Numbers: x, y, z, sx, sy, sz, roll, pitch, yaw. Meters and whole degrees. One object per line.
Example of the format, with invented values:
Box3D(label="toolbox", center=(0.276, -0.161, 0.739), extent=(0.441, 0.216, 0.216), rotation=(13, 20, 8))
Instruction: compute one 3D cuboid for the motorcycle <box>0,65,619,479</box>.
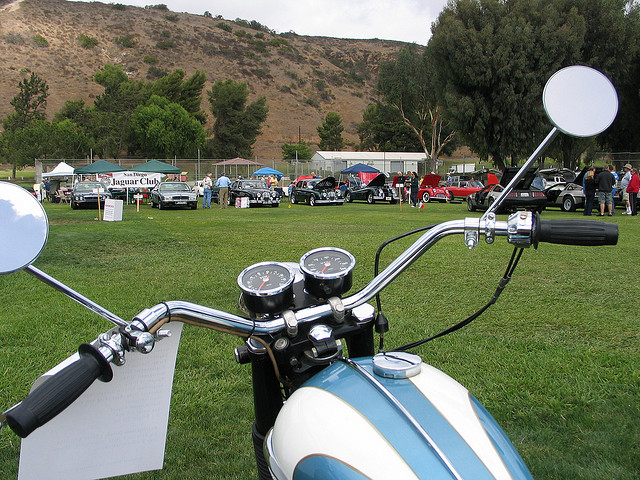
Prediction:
Box3D(label="motorcycle", center=(0.045, 0.197, 1.999), extent=(2.270, 1.732, 0.810), rotation=(0, 8, 1))

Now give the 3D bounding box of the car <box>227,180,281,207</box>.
Box3D(label="car", center=(-3.746, -2.573, 27.998), extent=(1.335, 1.085, 2.433), rotation=(-3, 6, -30))

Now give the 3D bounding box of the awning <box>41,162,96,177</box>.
Box3D(label="awning", center=(-17.015, -4.559, 34.712), extent=(2.033, 1.035, 2.262), rotation=(-2, -2, -1))

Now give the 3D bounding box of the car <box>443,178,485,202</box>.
Box3D(label="car", center=(9.157, -3.127, 32.503), extent=(1.189, 1.040, 2.489), rotation=(-6, 7, -38))

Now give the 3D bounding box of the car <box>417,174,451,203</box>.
Box3D(label="car", center=(6.892, -3.156, 32.071), extent=(1.330, 1.684, 2.529), rotation=(-3, 5, -32))

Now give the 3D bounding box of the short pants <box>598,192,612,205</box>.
Box3D(label="short pants", center=(10.266, -1.510, 18.809), extent=(0.320, 0.446, 0.162), rotation=(13, 32, 36))

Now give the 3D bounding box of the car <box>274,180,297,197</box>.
Box3D(label="car", center=(-2.667, -3.651, 38.600), extent=(1.370, 1.121, 2.402), rotation=(-4, 6, -16))

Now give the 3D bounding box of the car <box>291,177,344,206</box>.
Box3D(label="car", center=(-0.429, -2.788, 30.485), extent=(1.452, 1.395, 2.938), rotation=(-4, 6, -28))

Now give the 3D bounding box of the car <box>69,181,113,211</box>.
Box3D(label="car", center=(-11.345, -2.307, 25.590), extent=(1.490, 1.225, 3.405), rotation=(-4, 3, -22))

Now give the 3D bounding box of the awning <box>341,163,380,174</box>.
Box3D(label="awning", center=(3.458, -5.939, 43.851), extent=(1.916, 0.904, 2.141), rotation=(1, 0, -10))
